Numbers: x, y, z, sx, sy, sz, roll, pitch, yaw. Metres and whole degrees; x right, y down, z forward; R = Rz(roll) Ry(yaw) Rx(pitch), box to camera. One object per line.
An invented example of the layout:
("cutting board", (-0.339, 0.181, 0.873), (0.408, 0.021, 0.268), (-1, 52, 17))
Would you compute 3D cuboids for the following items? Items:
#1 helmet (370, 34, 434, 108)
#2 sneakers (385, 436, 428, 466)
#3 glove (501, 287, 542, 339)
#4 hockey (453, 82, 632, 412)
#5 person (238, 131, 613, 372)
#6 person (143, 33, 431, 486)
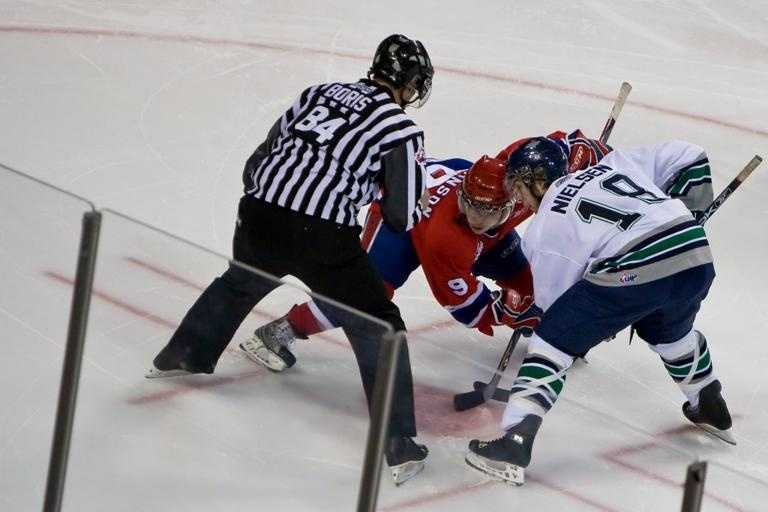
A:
("helmet", (0.071, -0.753, 3.684), (0.237, 0.255, 0.302), (29, 27, 36))
("sneakers", (0.071, 0.638, 3.021), (0.060, 0.075, 0.184), (7, 12, 41))
("glove", (0.691, 0.249, 4.100), (0.329, 0.104, 0.126), (24, 59, -27))
("hockey", (0.678, -0.002, 3.911), (0.103, 1.842, 0.511), (30, -18, -3))
("person", (0.135, 0.035, 4.231), (1.200, 1.617, 0.478), (13, 43, -9))
("person", (-0.178, -0.135, 3.325), (1.002, 1.158, 1.295), (11, 27, 3))
